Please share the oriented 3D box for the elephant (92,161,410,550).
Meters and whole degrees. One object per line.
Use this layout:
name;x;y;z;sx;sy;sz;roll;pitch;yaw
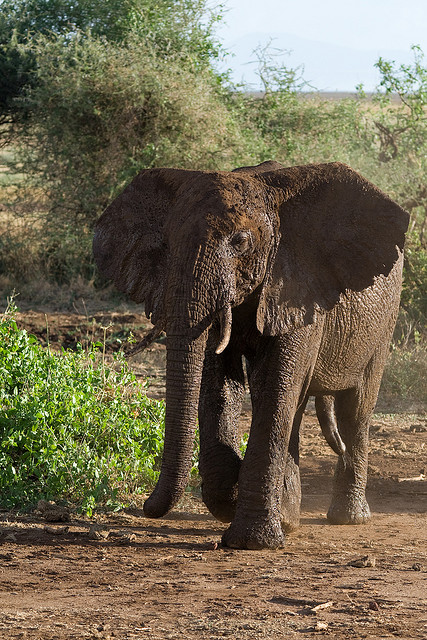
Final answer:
elephant;0.164;0.192;4.582;1.792;1.851;2.474;-1;0;24
